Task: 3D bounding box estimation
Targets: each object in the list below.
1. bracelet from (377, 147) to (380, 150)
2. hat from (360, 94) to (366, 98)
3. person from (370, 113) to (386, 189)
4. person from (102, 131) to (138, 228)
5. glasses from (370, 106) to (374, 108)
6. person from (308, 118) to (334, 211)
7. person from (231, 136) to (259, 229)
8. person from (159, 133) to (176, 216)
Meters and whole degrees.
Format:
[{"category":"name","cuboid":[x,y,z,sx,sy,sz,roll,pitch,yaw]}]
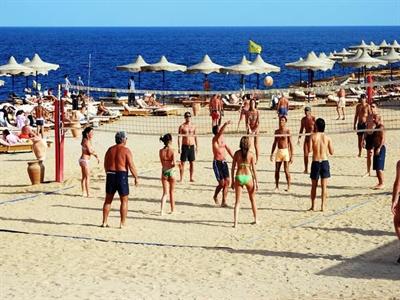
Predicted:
[{"category":"bracelet","cuboid":[4.093,-0.021,13.745,0.051,0.051,0.019,11,0,27]},{"category":"hat","cuboid":[4.492,-1.488,16.456,0.130,0.069,0.191,2,12,17]},{"category":"person","cuboid":[4.214,0.052,14.099,0.322,1.815,0.997,3,15,17]},{"category":"person","cuboid":[-1.668,0.668,12.232,0.676,2.025,0.723,-11,18,-33]},{"category":"glasses","cuboid":[4.194,-1.050,14.549,0.076,0.053,0.025,4,16,18]},{"category":"person","cuboid":[2.622,0.353,13.051,0.491,2.038,0.564,2,15,12]},{"category":"person","cuboid":[0.927,0.676,12.396,0.545,1.911,0.676,0,15,4]},{"category":"person","cuboid":[-0.705,0.576,12.914,0.375,1.843,0.489,-3,15,-7]}]
